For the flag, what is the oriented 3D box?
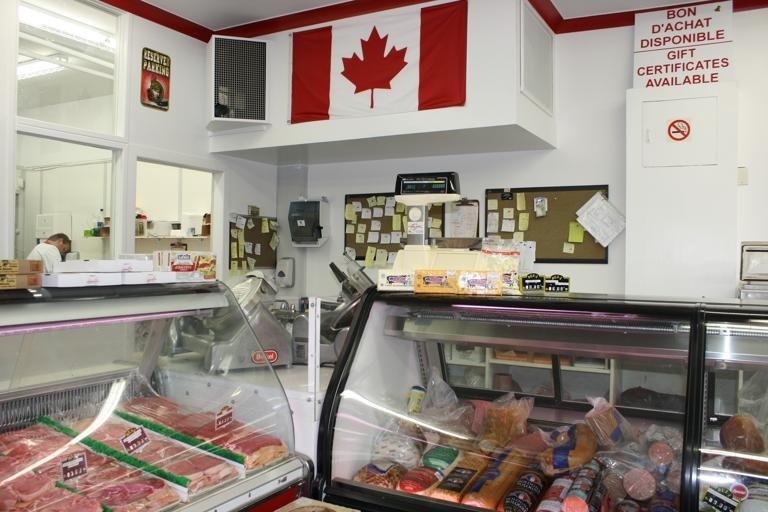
[{"bbox_3d":[0.024,-1.743,4.553,1.220,0.716,0.064,-1,-3,24],"label":"flag"}]
